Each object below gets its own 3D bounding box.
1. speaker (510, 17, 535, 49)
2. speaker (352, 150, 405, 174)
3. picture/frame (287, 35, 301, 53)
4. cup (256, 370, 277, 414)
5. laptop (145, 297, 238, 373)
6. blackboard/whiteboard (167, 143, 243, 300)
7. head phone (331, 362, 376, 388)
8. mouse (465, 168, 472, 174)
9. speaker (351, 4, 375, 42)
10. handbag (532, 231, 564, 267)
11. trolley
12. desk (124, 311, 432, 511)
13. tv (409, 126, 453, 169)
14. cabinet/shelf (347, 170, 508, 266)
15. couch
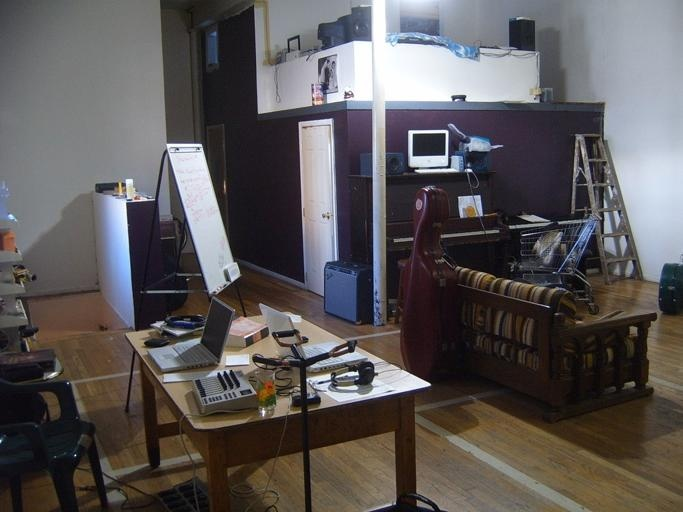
[{"bbox_3d":[2.903,-3.541,9.010,0.395,0.530,0.387,2,13,15],"label":"speaker"},{"bbox_3d":[0.533,-1.226,7.519,0.668,0.285,0.366,-8,15,-25],"label":"speaker"},{"bbox_3d":[-0.783,-3.472,9.211,0.228,0.315,0.505,-2,13,-4],"label":"picture/frame"},{"bbox_3d":[-0.398,0.769,3.218,0.164,0.245,0.137,2,-6,-25],"label":"cup"},{"bbox_3d":[-1.020,0.515,3.754,0.498,0.368,0.537,0,4,-25],"label":"laptop"},{"bbox_3d":[-1.349,-0.284,5.507,0.594,1.596,0.964,-4,13,-11],"label":"blackboard/whiteboard"},{"bbox_3d":[0.072,0.720,3.377,0.191,0.093,0.162,-11,14,-9],"label":"head phone"},{"bbox_3d":[1.813,-1.208,7.994,0.075,0.128,0.089,0,0,-15],"label":"mouse"},{"bbox_3d":[0.253,-3.169,7.675,0.280,0.469,0.243,1,13,10],"label":"speaker"},{"bbox_3d":[2.758,-0.102,7.468,0.319,0.505,0.149,9,-10,38],"label":"handbag"},{"bbox_3d":[3.106,0.051,7.711,0.982,1.176,0.676,7,8,29],"label":"trolley"},{"bbox_3d":[-0.348,0.456,3.365,1.239,0.917,1.701,-4,9,-27],"label":"desk"},{"bbox_3d":[1.219,-1.506,7.837,0.570,0.561,0.251,-3,7,-19],"label":"tv"},{"bbox_3d":[1.272,-0.413,7.969,2.140,1.505,1.069,-6,4,-27],"label":"cabinet/shelf"},{"bbox_3d":[1.951,0.304,5.121,1.133,0.895,1.910,-9,10,-23],"label":"couch"}]
